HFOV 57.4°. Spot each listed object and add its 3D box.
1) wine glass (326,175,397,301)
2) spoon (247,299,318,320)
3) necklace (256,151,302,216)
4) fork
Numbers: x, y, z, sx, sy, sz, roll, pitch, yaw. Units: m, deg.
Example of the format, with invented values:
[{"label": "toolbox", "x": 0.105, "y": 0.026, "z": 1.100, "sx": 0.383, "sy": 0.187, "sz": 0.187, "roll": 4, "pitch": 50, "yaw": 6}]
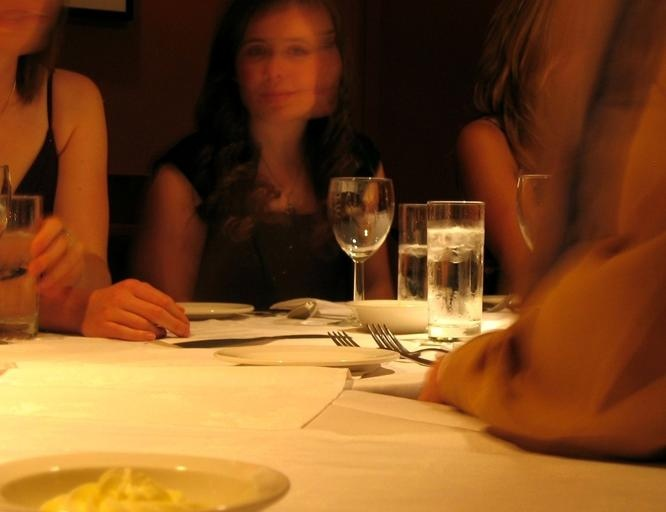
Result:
[{"label": "wine glass", "x": 0.053, "y": -0.039, "z": 1.219, "sx": 0.122, "sy": 0.238, "sz": 0.133, "roll": 2, "pitch": 0, "yaw": -45}, {"label": "spoon", "x": -0.123, "y": 0.133, "z": 1.503, "sx": 0.075, "sy": 0.031, "sz": 0.099, "roll": 4, "pitch": -11, "yaw": 45}, {"label": "necklace", "x": -0.238, "y": -0.314, "z": 2.730, "sx": 0.059, "sy": 0.250, "sz": 0.147, "roll": -31, "pitch": -27, "yaw": 29}, {"label": "fork", "x": 0.079, "y": 0.115, "z": 0.862, "sx": 0.056, "sy": 0.034, "sz": 0.233, "roll": 21, "pitch": -6, "yaw": -24}]
